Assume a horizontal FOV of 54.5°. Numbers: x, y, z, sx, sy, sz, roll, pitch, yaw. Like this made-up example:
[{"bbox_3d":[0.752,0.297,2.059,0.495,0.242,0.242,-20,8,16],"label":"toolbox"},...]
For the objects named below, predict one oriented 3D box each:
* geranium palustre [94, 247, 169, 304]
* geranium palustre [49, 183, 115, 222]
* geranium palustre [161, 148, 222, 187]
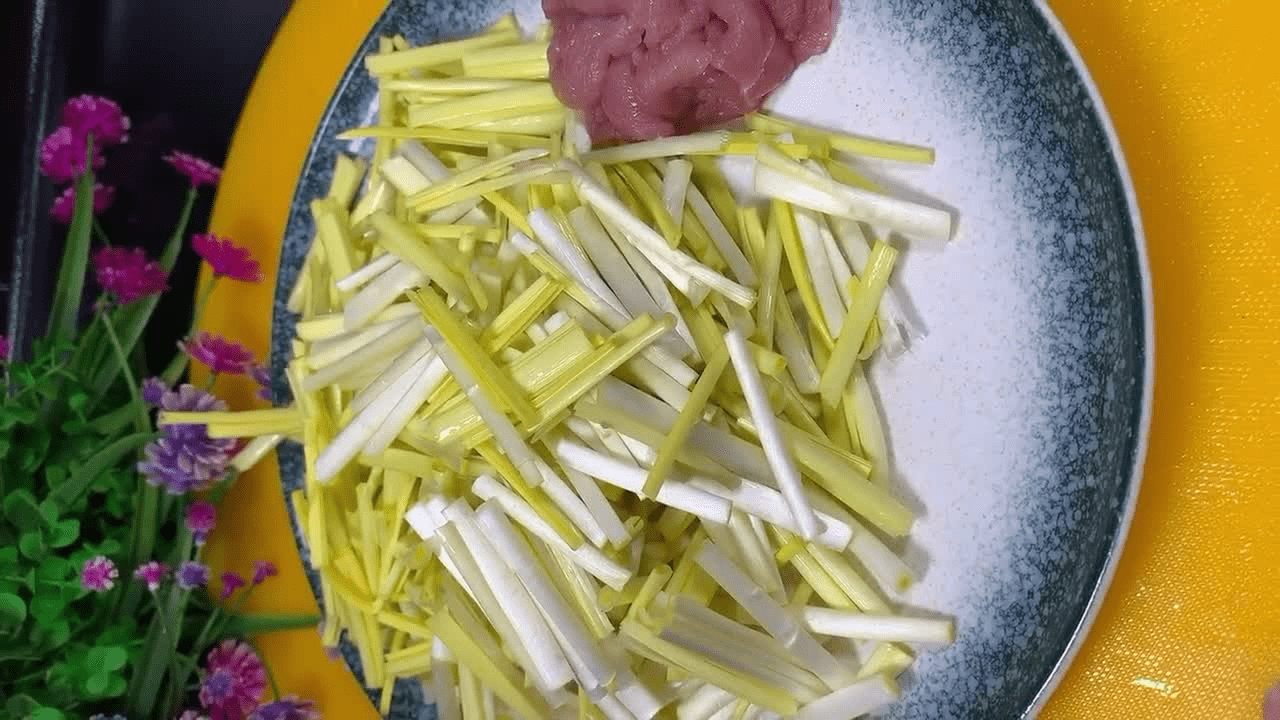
[{"bbox_3d":[-0.863,-0.137,2.131,0.106,0.029,0.107,-21,68,-10],"label":"geranium palustre"},{"bbox_3d":[-0.972,-0.272,2.146,0.079,0.080,0.045,-12,63,-32],"label":"geranium palustre"},{"bbox_3d":[-0.776,-0.330,2.142,0.090,0.028,0.059,40,93,-16],"label":"geranium palustre"}]
